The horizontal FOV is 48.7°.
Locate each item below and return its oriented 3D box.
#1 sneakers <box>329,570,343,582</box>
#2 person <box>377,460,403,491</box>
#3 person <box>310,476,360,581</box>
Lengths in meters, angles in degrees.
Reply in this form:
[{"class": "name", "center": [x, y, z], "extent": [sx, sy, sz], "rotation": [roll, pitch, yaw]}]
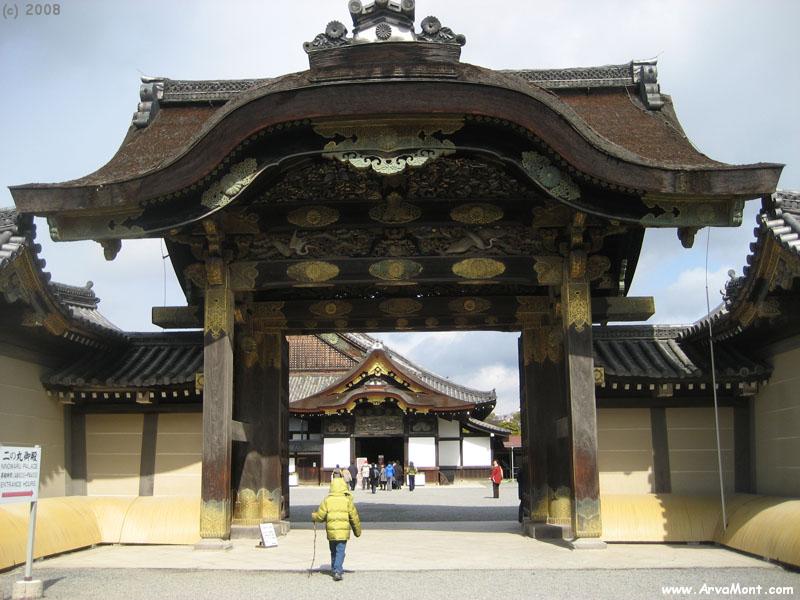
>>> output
[{"class": "sneakers", "center": [-0.837, 3.535, 11.343], "extent": [0.069, 0.188, 0.188], "rotation": [5, 9, 27]}, {"class": "person", "center": [-0.443, 6.460, 32.377], "extent": [0.946, 1.608, 0.937], "rotation": [2, -15, -10]}, {"class": "person", "center": [-0.843, 2.970, 11.666], "extent": [0.597, 1.374, 0.562], "rotation": [-1, -16, -5]}]
